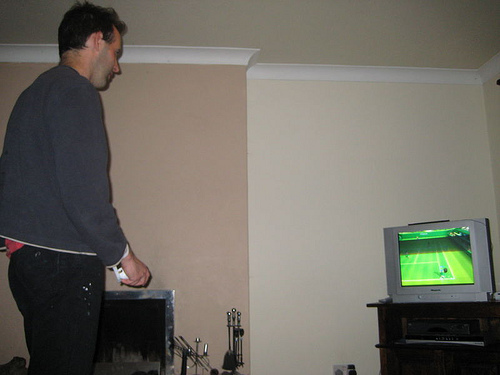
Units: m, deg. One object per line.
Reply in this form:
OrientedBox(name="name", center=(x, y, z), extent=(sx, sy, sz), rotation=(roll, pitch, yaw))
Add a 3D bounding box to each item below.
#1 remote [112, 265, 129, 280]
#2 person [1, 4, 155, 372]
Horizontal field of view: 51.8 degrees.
OrientedBox(name="remote", center=(-0.630, 0.409, 2.506), extent=(0.020, 0.044, 0.071), rotation=(-19, -58, 5))
OrientedBox(name="person", center=(-0.877, -0.100, 2.564), extent=(0.689, 1.928, 0.332), rotation=(2, -13, -14))
